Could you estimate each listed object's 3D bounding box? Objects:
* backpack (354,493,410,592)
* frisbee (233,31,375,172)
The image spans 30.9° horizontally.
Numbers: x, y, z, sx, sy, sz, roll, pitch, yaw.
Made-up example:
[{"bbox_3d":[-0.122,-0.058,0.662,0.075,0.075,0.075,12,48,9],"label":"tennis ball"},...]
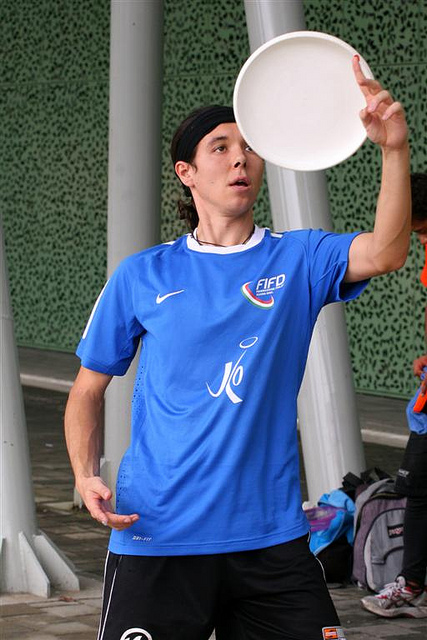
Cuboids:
[{"bbox_3d":[0.894,1.156,3.993,0.373,0.494,0.278,4,-9,-19],"label":"backpack"},{"bbox_3d":[0.183,-0.463,1.664,0.282,0.298,0.178,-1,20,11],"label":"frisbee"}]
